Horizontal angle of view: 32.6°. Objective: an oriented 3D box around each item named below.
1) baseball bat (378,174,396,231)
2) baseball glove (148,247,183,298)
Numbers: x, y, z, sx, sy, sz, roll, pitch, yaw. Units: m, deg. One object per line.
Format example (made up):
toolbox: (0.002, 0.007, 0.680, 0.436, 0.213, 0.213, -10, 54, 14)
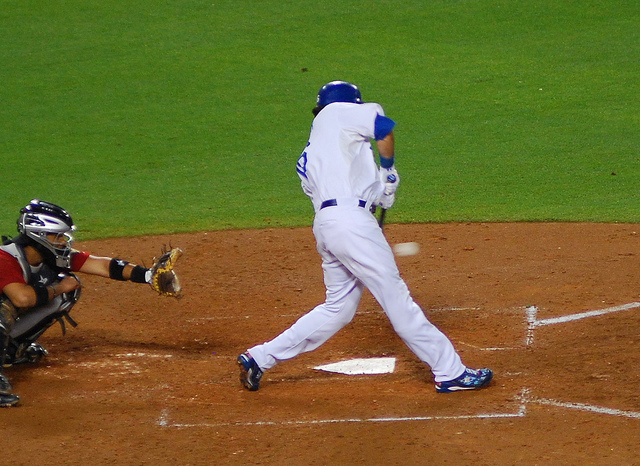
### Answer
baseball bat: (0.740, -0.341, 11.462, 0.160, 0.554, 0.145, 16, 18, 8)
baseball glove: (-1.601, 0.416, 11.667, 0.421, 0.548, 0.261, 3, 24, 8)
